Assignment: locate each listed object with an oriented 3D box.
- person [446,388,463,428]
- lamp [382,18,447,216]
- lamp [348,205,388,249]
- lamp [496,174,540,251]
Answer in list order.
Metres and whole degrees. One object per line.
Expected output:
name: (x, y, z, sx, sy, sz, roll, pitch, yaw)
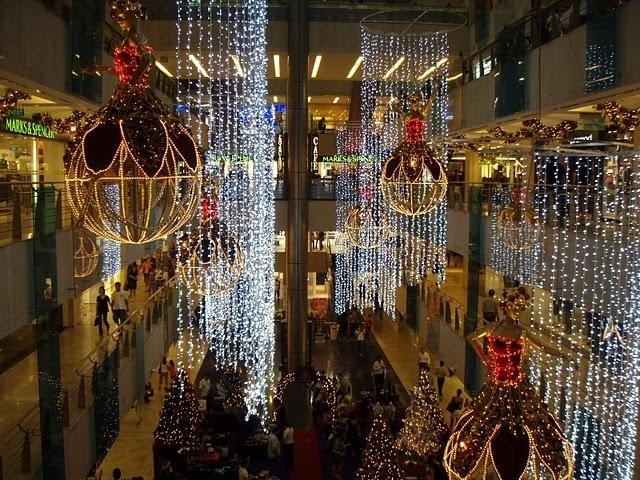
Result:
person: (2.832, 3.590, 11.245, 0.307, 0.303, 1.017, 7, -84, 19)
lamp: (1.358, -1.283, 7.668, 0.823, 0.864, 1.897, -4, -81, -17)
lamp: (1.352, -0.342, 16.749, 1.198, 1.218, 1.409, -8, -75, -25)
lamp: (3.812, -0.396, 10.050, 0.861, 0.874, 1.355, -4, -85, -29)
